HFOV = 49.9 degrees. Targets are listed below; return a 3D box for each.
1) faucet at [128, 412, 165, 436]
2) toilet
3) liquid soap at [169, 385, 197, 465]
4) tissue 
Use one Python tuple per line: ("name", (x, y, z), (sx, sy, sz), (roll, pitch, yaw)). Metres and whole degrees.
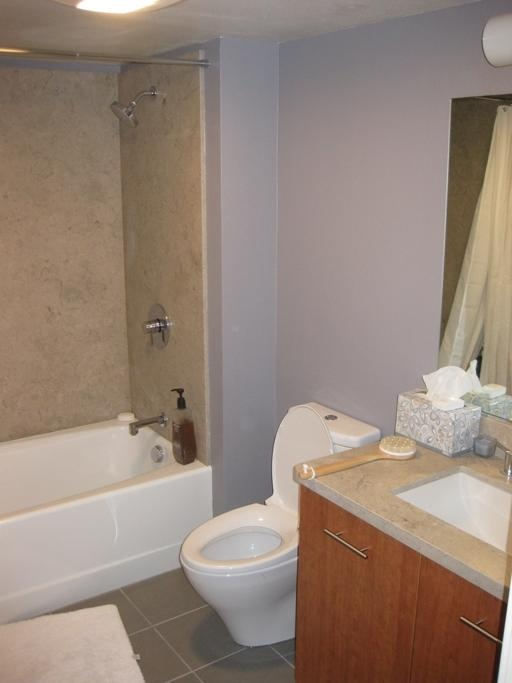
("faucet", (-0.539, 0.407, 2.782), (0.093, 0.102, 0.221), (-11, -4, 43))
("toilet", (-0.002, 0.694, 2.035), (0.650, 0.922, 0.609), (-7, 12, -36))
("liquid soap", (-0.341, 0.404, 2.551), (0.096, 0.369, 0.090), (-6, 17, -31))
("tissue ", (0.526, 0.198, 1.578), (0.140, 0.257, 0.202), (-10, 21, -36))
